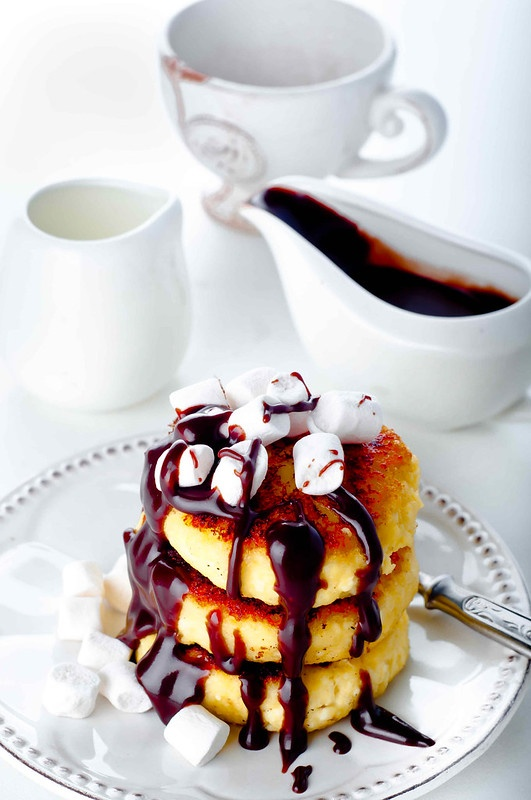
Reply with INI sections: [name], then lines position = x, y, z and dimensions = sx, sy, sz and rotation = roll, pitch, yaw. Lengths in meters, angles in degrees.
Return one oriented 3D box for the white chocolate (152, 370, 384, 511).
[white chocolate]
position = 0.000, 0.057, 1.458
dimensions = 0.350, 0.232, 0.478
rotation = 13, 21, 39
